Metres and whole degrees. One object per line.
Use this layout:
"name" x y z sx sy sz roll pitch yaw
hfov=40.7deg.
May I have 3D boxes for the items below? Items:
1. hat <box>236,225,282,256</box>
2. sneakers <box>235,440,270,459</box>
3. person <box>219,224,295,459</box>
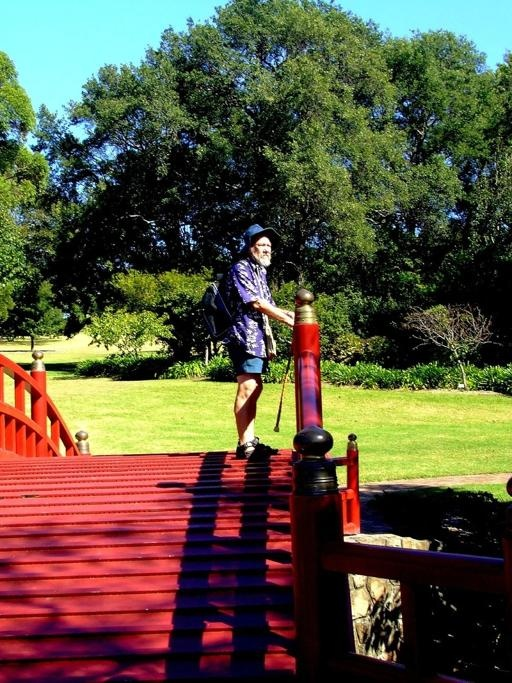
"hat" -0.031 -0.672 4.453 0.213 0.082 0.254 -10 -19 -26
"sneakers" -0.021 0.683 4.401 0.234 0.086 0.101 -4 3 2
"person" -0.039 -0.024 4.263 0.461 1.279 0.691 10 -3 -1
